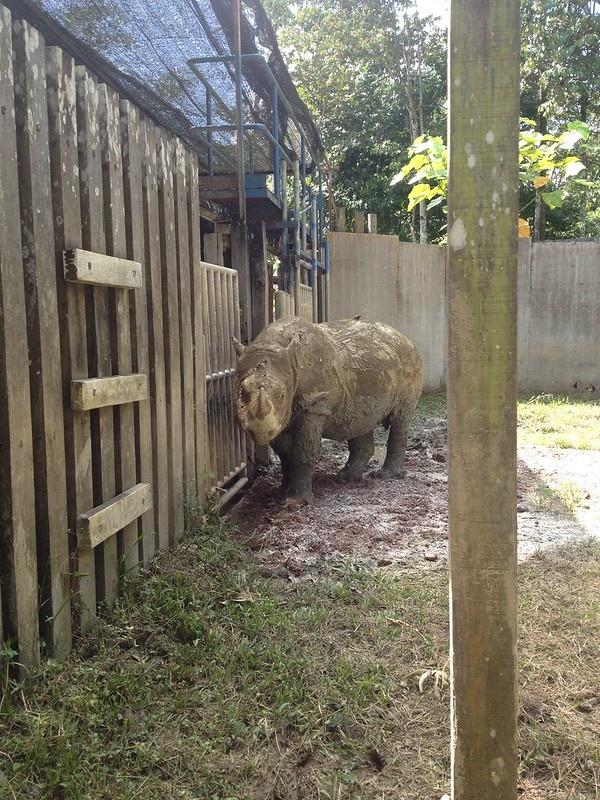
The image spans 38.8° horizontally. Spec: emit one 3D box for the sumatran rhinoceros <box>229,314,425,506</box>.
[{"bbox_3d":[0.103,-0.003,5.495,0.591,1.426,1.870,0,-1,28],"label":"sumatran rhinoceros"}]

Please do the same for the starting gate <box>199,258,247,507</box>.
[{"bbox_3d":[-0.481,-0.061,5.195,0.061,1.692,1.235,0,2,7],"label":"starting gate"}]
